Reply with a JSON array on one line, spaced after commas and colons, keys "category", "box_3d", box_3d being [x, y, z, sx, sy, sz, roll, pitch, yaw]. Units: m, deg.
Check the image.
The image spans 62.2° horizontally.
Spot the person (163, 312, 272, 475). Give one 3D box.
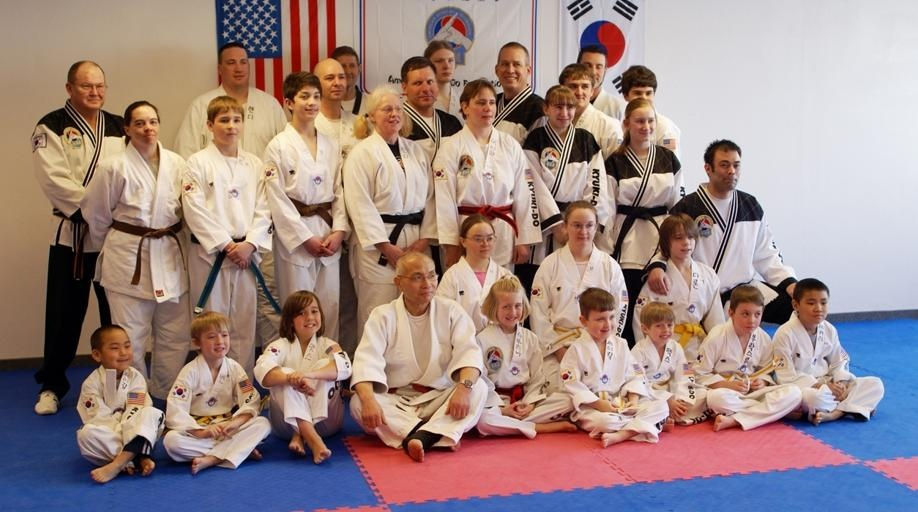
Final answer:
[{"category": "person", "box_3d": [-2.352, 1.278, 7.238, 0.918, 1.392, 0.553, -4, 8, -21]}]

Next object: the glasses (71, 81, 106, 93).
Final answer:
[{"category": "glasses", "box_3d": [-4.043, -1.841, 8.250, 0.319, 0.108, 0.094, -3, 7, -14]}]

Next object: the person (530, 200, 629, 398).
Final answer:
[{"category": "person", "box_3d": [1.276, 0.797, 8.290, 1.054, 2.644, 0.751, -1, 12, -6]}]

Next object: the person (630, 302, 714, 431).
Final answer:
[{"category": "person", "box_3d": [2.099, 1.128, 7.846, 0.843, 1.166, 0.882, -6, 11, -38]}]

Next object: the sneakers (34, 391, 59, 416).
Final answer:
[{"category": "sneakers", "box_3d": [-4.433, 1.561, 8.145, 0.226, 0.203, 0.224, -4, 7, -18]}]

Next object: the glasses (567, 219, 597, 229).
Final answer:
[{"category": "glasses", "box_3d": [1.311, -0.337, 8.106, 0.259, 0.075, 0.083, -3, 7, -14]}]

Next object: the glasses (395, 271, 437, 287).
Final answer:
[{"category": "glasses", "box_3d": [-0.455, 0.220, 7.599, 0.402, 0.137, 0.120, -1, 7, 2]}]

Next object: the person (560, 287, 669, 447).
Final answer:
[{"category": "person", "box_3d": [1.510, 1.089, 7.619, 0.987, 1.435, 0.598, 0, 8, 7]}]

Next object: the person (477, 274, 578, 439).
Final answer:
[{"category": "person", "box_3d": [0.678, 1.084, 7.832, 1.172, 1.496, 1.121, -15, 19, -28]}]
